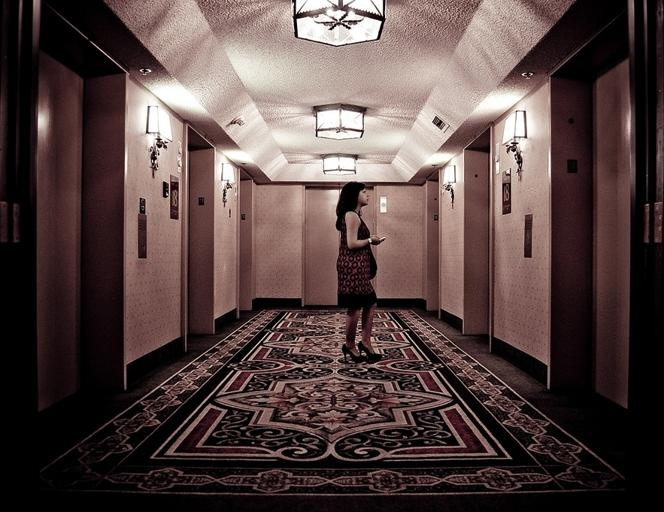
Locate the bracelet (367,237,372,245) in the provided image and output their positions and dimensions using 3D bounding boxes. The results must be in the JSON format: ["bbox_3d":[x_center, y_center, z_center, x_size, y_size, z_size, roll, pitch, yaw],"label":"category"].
[{"bbox_3d":[0.457,-0.175,5.338,0.043,0.077,0.073,0,0,2],"label":"bracelet"}]

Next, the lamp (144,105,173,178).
[{"bbox_3d":[-2.071,-1.386,5.409,0.247,0.839,0.496,0,1,-7],"label":"lamp"}]

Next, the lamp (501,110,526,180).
[{"bbox_3d":[2.257,-1.404,5.536,0.203,0.839,0.442,0,1,6],"label":"lamp"}]

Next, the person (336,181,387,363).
[{"bbox_3d":[0.332,0.205,5.551,0.560,2.236,0.639,0,1,5],"label":"person"}]
